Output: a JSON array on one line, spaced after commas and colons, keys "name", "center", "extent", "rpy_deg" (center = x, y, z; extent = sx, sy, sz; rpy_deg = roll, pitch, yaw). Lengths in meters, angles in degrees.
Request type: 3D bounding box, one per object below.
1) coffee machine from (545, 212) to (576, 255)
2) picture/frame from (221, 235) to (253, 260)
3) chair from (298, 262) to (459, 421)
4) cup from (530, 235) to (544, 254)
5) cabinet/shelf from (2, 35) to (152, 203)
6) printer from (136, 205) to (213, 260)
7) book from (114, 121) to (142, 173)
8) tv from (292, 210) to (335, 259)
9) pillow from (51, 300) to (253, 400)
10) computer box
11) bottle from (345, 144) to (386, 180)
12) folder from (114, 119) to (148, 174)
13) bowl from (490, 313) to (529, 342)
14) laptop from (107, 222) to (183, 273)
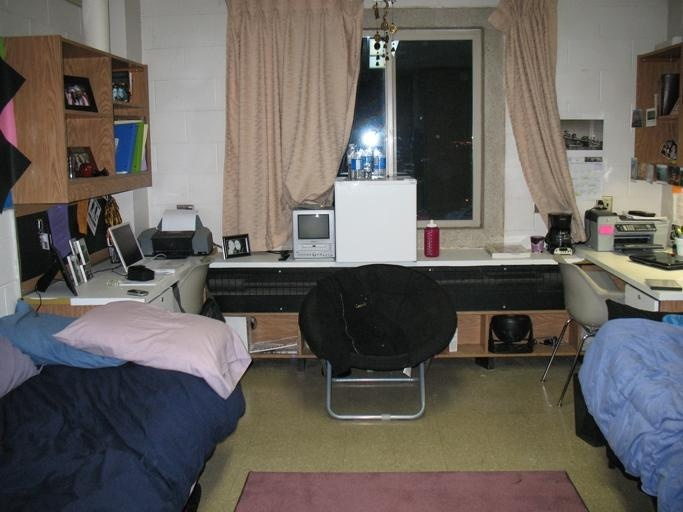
[{"name": "coffee machine", "center": [1.730, -0.175, 4.387], "extent": [0.202, 0.312, 0.305], "rpy_deg": [-1, -1, 11]}, {"name": "picture/frame", "center": [-0.837, -0.067, 4.420], "extent": [0.175, 0.158, 0.017], "rpy_deg": [-4, -3, -27]}, {"name": "chair", "center": [0.263, 0.743, 4.116], "extent": [0.985, 0.650, 1.060], "rpy_deg": [1, 39, 0]}, {"name": "cup", "center": [1.574, -0.085, 4.456], "extent": [0.116, 0.142, 0.122], "rpy_deg": [-2, 6, 0]}, {"name": "cabinet/shelf", "center": [-1.722, -0.888, 3.565], "extent": [0.352, 1.073, 1.153], "rpy_deg": [1, 13, 2]}, {"name": "printer", "center": [-1.331, -0.166, 4.421], "extent": [0.482, 0.358, 0.374], "rpy_deg": [-1, 8, -4]}, {"name": "book", "center": [-1.604, -0.816, 4.133], "extent": [0.308, 0.337, 0.078], "rpy_deg": [0, 2, 36]}, {"name": "tv", "center": [-0.150, -0.184, 4.421], "extent": [0.392, 0.484, 0.334], "rpy_deg": [0, 0, 2]}, {"name": "pillow", "center": [-1.012, 0.428, 2.934], "extent": [0.774, 0.216, 0.497], "rpy_deg": [17, 17, 1]}, {"name": "computer box", "center": [0.279, -0.301, 4.425], "extent": [0.589, 0.663, 0.617], "rpy_deg": [-2, 8, 3]}, {"name": "bottle", "center": [0.203, -0.772, 4.502], "extent": [0.299, 0.326, 0.172], "rpy_deg": [1, 13, 0]}, {"name": "folder", "center": [-1.594, -0.824, 4.177], "extent": [0.081, 0.371, 0.345], "rpy_deg": [3, -1, -12]}, {"name": "bowl", "center": [1.325, 0.562, 4.283], "extent": [0.214, 0.160, 0.226], "rpy_deg": [-1, 1, 0]}, {"name": "laptop", "center": [-1.467, -0.054, 4.065], "extent": [0.397, 0.292, 0.430], "rpy_deg": [3, 9, -8]}]
